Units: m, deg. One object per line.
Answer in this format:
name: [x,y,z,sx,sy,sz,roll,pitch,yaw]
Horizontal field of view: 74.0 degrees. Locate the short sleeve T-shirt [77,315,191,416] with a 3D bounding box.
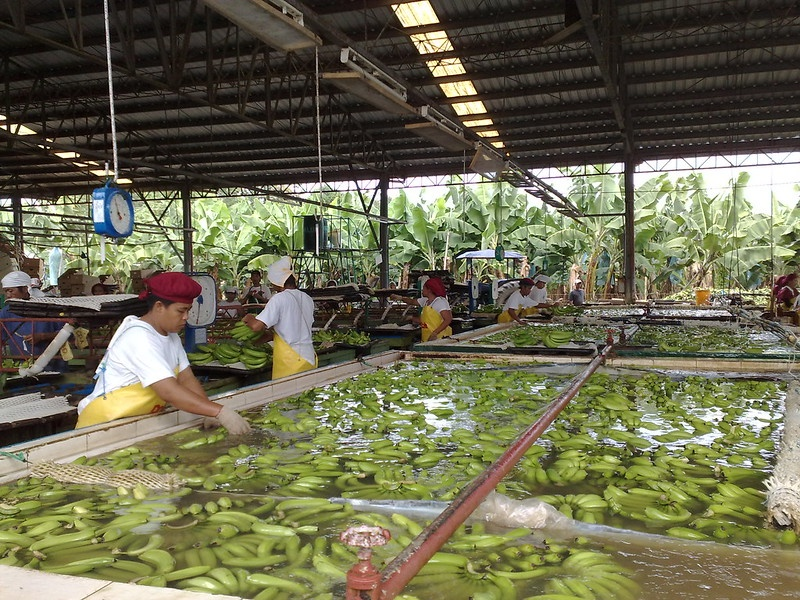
short sleeve T-shirt: [-1.769,0.454,3.499,0.705,0.659,0.893,6,7,-26]

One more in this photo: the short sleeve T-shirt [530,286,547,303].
short sleeve T-shirt: [3.137,-0.130,12.111,0.533,0.392,0.287,2,9,6]

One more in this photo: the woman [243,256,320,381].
woman: [-1.238,0.389,5.621,0.895,1.567,0.686,-1,20,-13]

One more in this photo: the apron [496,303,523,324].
apron: [2.083,0.258,10.029,0.659,0.270,0.398,-5,-12,-3]

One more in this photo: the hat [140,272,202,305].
hat: [-1.448,-0.100,3.239,0.292,0.092,0.242,16,18,36]

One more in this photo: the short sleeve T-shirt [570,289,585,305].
short sleeve T-shirt: [5.712,-0.099,17.145,0.744,0.539,0.353,0,2,-4]

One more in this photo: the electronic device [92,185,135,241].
electronic device: [-2.654,-0.816,4.855,0.305,0.469,0.630,-3,6,-21]
